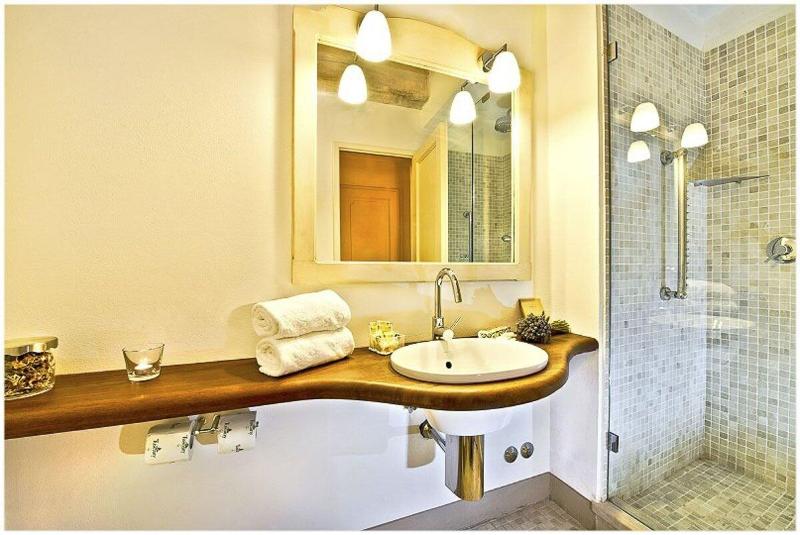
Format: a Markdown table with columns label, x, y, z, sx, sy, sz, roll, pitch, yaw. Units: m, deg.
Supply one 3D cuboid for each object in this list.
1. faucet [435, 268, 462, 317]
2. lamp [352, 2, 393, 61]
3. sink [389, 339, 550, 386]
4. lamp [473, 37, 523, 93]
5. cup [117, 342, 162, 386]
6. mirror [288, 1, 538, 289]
| label | x | y | z | sx | sy | sz | roll | pitch | yaw |
| --- | --- | --- | --- | --- | --- | --- | --- | --- | --- |
| faucet | 0.220 | 0.119 | 2.486 | 0.141 | 0.247 | 0.358 | -2 | 5 | 5 |
| lamp | -0.118 | -1.061 | 2.423 | 0.186 | 0.243 | 0.166 | -4 | 6 | -14 |
| sink | 0.276 | 0.403 | 2.262 | 0.642 | 0.151 | 0.362 | -4 | 5 | -15 |
| lamp | 0.478 | -0.954 | 2.641 | 0.189 | 0.264 | 0.241 | -2 | 1 | -25 |
| cup | -1.020 | 0.378 | 2.111 | 0.143 | 0.123 | 0.154 | 0 | -6 | 0 |
| mirror | 0.010 | -0.566 | 2.534 | 1.454 | 1.423 | 0.117 | 1 | 1 | -25 |
